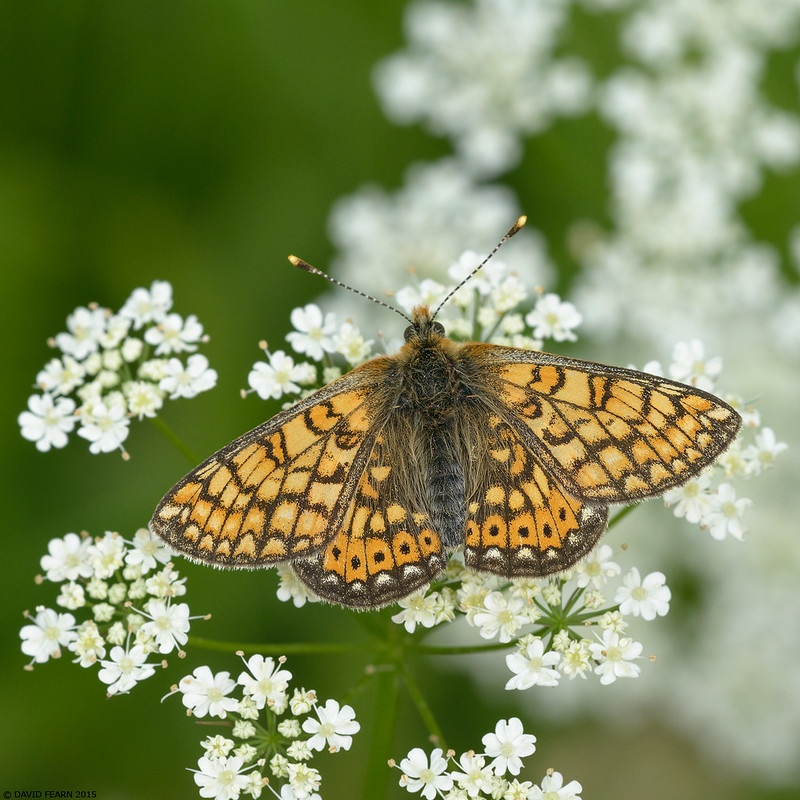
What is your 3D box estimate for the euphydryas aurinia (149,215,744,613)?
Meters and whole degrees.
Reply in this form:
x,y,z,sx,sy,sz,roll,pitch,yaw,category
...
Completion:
x,y,z,sx,sy,sz,roll,pitch,yaw,category
0.226,0.281,5.665,2.987,0.845,2.294,-9,-51,-2,euphydryas aurinia
